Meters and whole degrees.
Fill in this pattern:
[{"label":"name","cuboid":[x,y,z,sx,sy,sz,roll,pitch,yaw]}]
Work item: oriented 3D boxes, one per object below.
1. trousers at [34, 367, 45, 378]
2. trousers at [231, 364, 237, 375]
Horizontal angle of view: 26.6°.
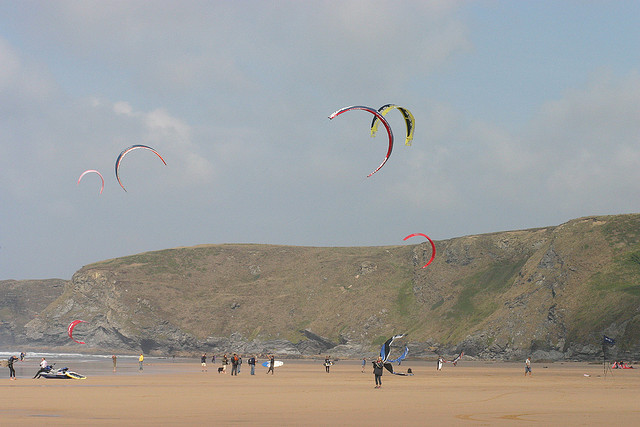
[{"label":"trousers","cuboid":[-39.757,22.681,192.469,1.290,1.428,2.907,-4,4,-12]},{"label":"trousers","cuboid":[-12.586,22.928,199.208,0.780,1.676,2.444,-4,4,-3]}]
